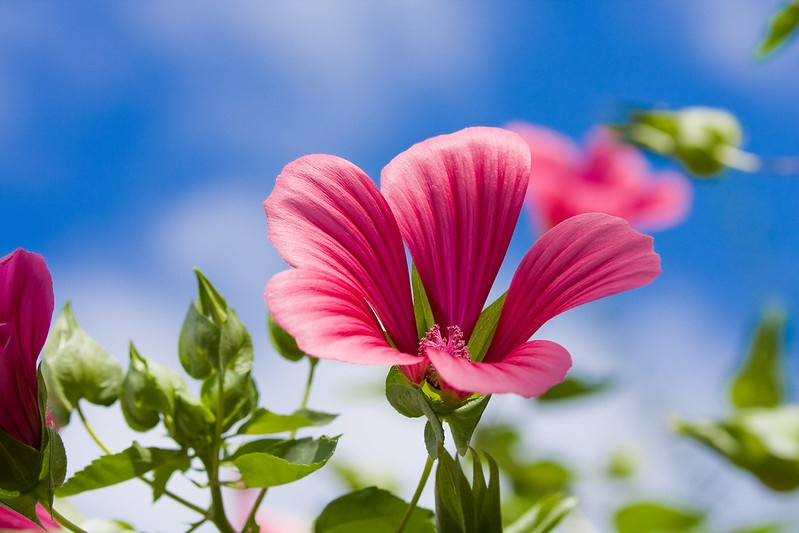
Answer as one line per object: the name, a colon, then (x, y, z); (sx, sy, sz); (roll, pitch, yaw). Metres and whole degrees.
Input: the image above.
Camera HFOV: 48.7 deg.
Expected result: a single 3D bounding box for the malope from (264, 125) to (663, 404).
malope: (0.025, -0.016, 0.788); (0.271, 0.275, 0.127); (-14, -32, -9)
